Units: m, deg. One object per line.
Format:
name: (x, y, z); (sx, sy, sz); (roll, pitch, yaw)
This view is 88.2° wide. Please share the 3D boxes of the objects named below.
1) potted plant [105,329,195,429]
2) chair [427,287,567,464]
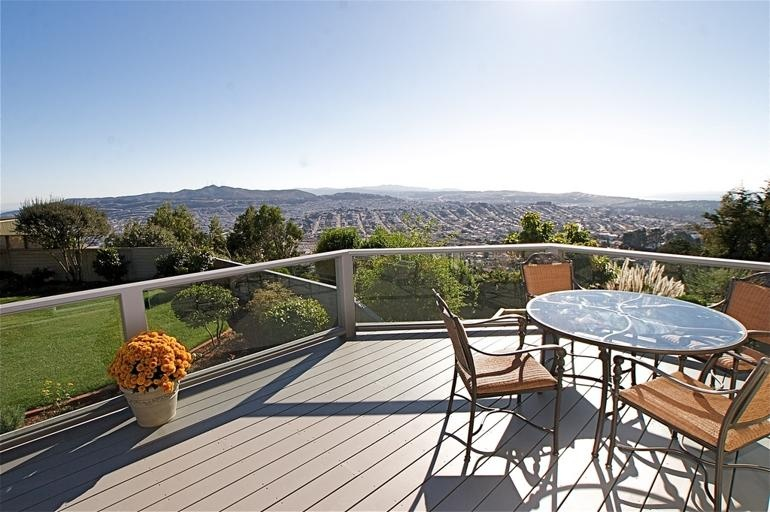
potted plant: (-2.250, 1.221, 4.197); (0.842, 0.888, 0.851); (0, 1, -8)
chair: (1.013, 1.030, 3.727); (1.082, 1.271, 0.909); (-3, 7, -12)
